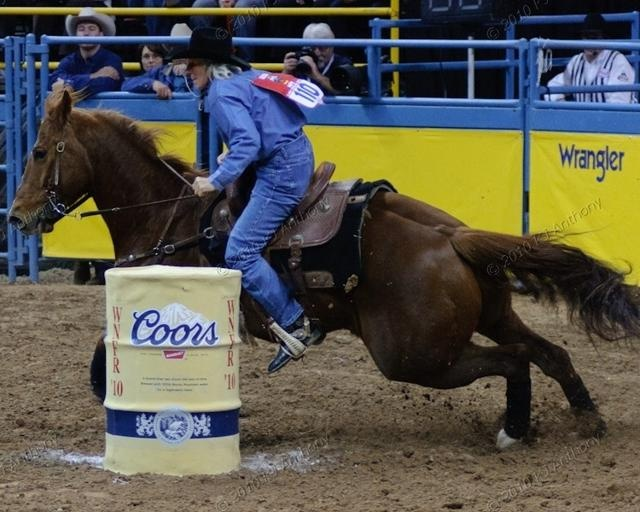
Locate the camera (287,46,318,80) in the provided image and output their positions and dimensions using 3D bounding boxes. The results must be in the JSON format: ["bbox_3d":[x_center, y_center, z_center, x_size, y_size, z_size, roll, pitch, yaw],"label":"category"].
[{"bbox_3d":[-0.176,-1.764,11.622,0.276,0.187,0.286,-2,18,14],"label":"camera"}]

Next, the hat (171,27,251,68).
[{"bbox_3d":[-0.718,-1.401,8.596,0.427,0.153,0.330,11,14,-7],"label":"hat"}]

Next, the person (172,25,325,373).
[{"bbox_3d":[-0.434,-0.360,8.665,0.905,2.341,0.482,-1,9,-1],"label":"person"}]

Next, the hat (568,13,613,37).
[{"bbox_3d":[2.648,-2.228,12.471,0.347,0.132,0.375,3,12,18],"label":"hat"}]
